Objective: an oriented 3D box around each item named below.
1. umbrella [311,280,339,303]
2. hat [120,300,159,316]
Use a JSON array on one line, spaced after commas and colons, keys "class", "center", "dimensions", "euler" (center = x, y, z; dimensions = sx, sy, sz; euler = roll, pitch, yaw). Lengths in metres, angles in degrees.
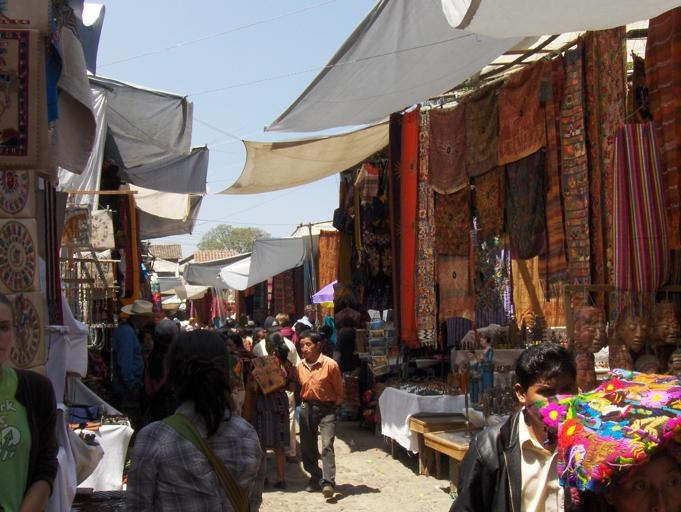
[{"class": "umbrella", "center": [-0.275, 0.694, 14.208], "dimensions": [0.393, 0.306, 0.416], "euler": [4, -7, -23]}, {"class": "hat", "center": [-2.100, 0.562, 8.273], "dimensions": [0.259, 0.108, 0.245], "euler": [2, 9, -33]}]
